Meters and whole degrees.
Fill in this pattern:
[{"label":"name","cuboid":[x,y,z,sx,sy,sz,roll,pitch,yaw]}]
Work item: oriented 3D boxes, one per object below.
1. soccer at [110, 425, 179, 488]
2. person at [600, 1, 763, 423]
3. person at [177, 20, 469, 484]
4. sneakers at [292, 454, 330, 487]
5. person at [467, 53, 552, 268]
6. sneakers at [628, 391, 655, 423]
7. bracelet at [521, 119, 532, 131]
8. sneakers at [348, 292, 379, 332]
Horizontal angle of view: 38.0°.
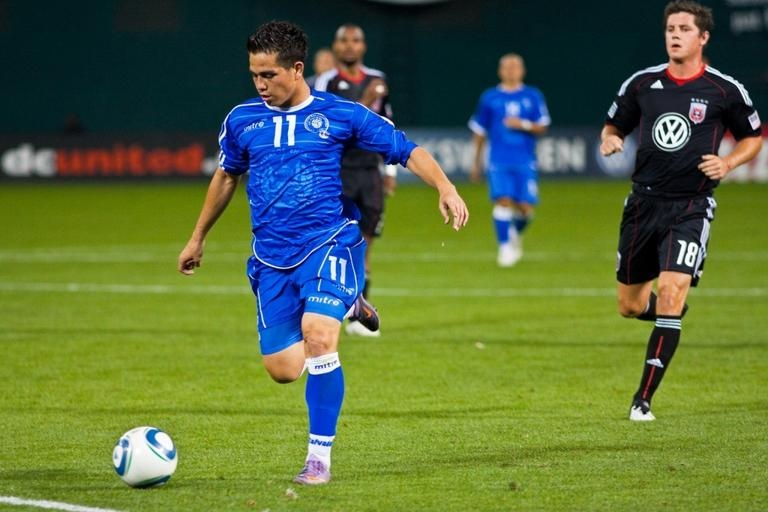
[{"label":"soccer","cuboid":[-1.630,1.385,7.679,0.448,0.382,0.395,5,40,-11]},{"label":"person","cuboid":[2.323,-0.410,8.814,1.161,3.162,1.174,0,14,0]},{"label":"person","cuboid":[-0.502,-0.113,8.068,1.191,3.085,1.361,-12,18,-40]},{"label":"sneakers","cuboid":[-0.503,1.494,7.745,0.190,0.135,0.340,0,-7,6]},{"label":"person","cuboid":[1.628,-1.219,14.710,0.995,2.781,1.502,1,14,4]},{"label":"sneakers","cuboid":[1.998,1.178,8.671,0.254,0.205,0.520,1,0,18]},{"label":"bracelet","cuboid":[1.810,-1.699,14.368,0.147,0.130,0.035,-10,-9,-15]},{"label":"sneakers","cuboid":[-0.178,0.444,8.273,0.138,0.387,0.166,-14,40,26]}]
